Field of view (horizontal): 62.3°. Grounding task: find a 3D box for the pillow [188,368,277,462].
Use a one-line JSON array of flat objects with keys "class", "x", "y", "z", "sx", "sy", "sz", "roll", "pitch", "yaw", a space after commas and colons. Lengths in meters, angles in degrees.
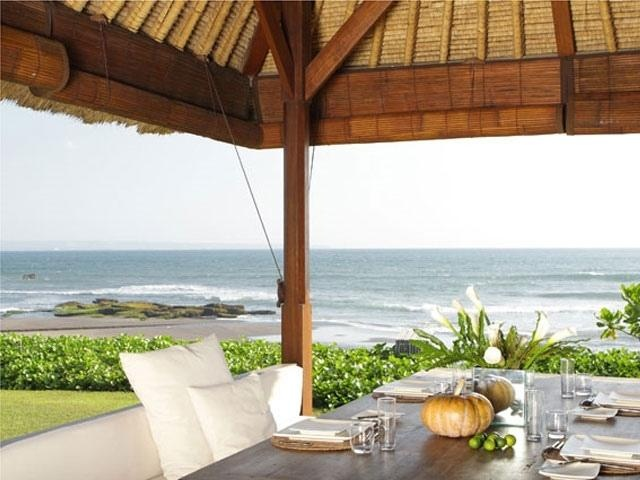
[{"class": "pillow", "x": -0.393, "y": 0.853, "z": 2.627, "sx": 0.112, "sy": 0.392, "sz": 0.363, "roll": -30, "pitch": -17, "yaw": 38}]
